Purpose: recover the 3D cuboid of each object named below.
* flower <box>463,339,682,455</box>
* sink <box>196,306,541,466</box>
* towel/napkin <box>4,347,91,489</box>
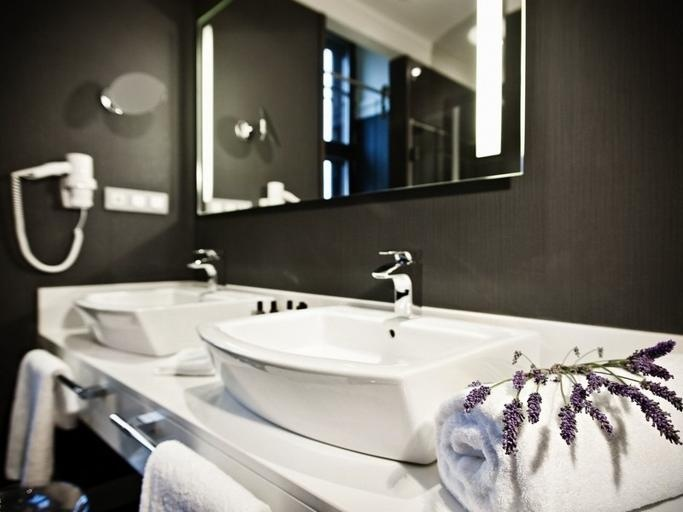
[{"bbox_3d":[0.416,0.237,0.934,0.234,0.076,0.243,-7,9,-16],"label":"flower"},{"bbox_3d":[0.109,0.254,1.160,0.350,0.137,0.474,4,-5,-44],"label":"sink"},{"bbox_3d":[-0.905,0.497,1.628,0.179,0.379,0.343,-7,5,-39],"label":"towel/napkin"}]
